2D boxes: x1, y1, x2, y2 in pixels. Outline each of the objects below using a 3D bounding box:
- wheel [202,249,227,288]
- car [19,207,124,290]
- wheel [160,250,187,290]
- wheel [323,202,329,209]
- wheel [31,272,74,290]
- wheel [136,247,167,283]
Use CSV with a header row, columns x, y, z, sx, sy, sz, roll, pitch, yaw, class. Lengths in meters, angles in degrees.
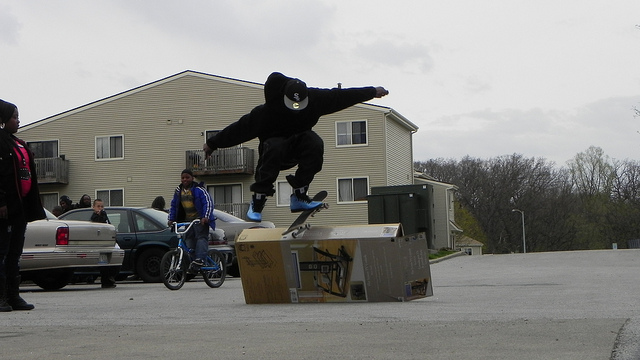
x,y,z,sx,sy,sz,roll,pitch,yaw,class
-2.518,2.129,16.577,0.319,0.900,0.740,-2,-6,19,wheel
-5.802,1.514,15.941,2.068,1.604,1.100,2,-6,-24,car
-3.371,2.080,15.926,0.562,0.903,0.532,0,-6,0,wheel
0.113,0.453,12.001,0.132,0.124,0.041,3,-30,-37,wheel
-6.304,2.432,16.425,0.741,0.176,0.720,-1,2,0,wheel
-4.364,2.189,17.915,1.078,0.994,0.366,-2,2,0,wheel
